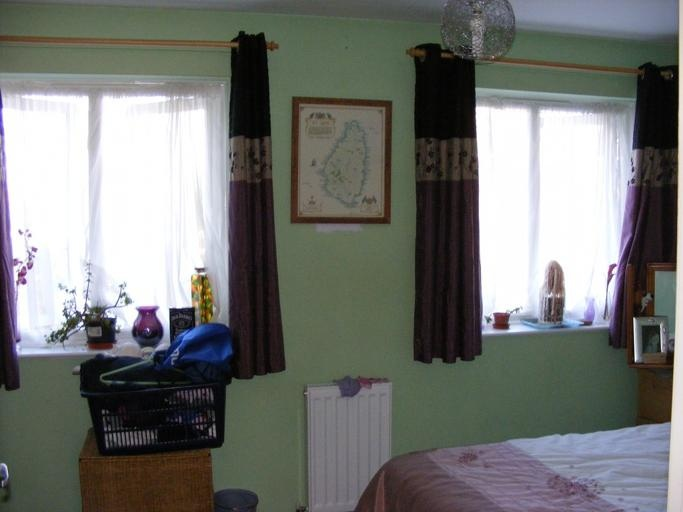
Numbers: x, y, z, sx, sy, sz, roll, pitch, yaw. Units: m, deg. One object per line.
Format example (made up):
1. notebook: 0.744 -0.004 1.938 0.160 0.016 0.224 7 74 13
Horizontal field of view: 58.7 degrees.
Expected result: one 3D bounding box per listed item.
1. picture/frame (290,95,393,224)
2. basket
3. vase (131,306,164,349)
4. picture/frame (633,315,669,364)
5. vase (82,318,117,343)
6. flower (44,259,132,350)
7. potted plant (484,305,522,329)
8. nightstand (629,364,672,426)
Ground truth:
1. picture/frame: -0.038 -0.631 3.882 0.678 0.955 0.033 0 3 -10
2. basket: -1.022 0.858 3.302 0.640 0.375 0.470 2 -4 -17
3. vase: -1.217 0.438 3.803 0.175 0.269 0.190 11 12 28
4. picture/frame: 2.004 0.555 3.953 0.246 0.410 0.039 0 -2 3
5. vase: -1.493 0.458 3.729 0.140 0.127 0.156 -2 -7 28
6. flower: -1.594 0.294 3.805 0.510 0.527 0.185 0 1 4
7. potted plant: 1.121 0.430 4.263 0.222 0.162 0.136 -3 -2 -19
8. nightstand: 2.094 0.944 4.093 0.204 0.427 0.261 1 1 26
